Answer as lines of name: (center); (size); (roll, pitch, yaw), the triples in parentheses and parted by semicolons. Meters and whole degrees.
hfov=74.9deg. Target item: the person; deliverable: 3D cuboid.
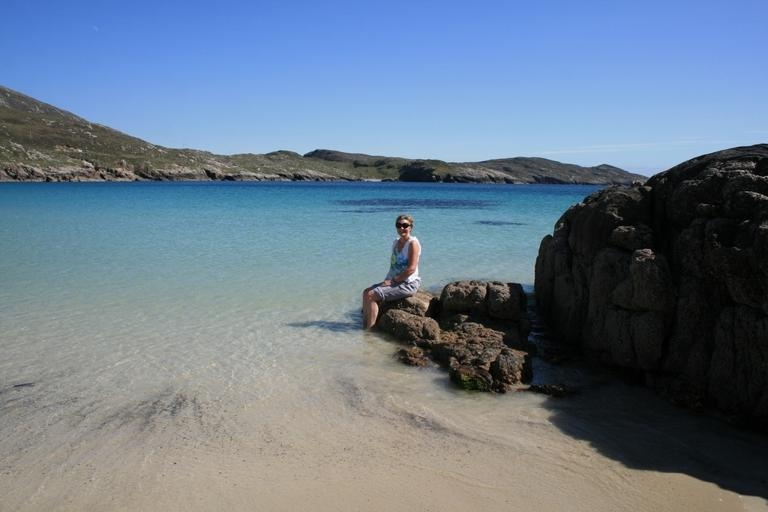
person: (0.213, 0.350, 11.722); (1.026, 2.675, 1.046); (10, 15, 18)
